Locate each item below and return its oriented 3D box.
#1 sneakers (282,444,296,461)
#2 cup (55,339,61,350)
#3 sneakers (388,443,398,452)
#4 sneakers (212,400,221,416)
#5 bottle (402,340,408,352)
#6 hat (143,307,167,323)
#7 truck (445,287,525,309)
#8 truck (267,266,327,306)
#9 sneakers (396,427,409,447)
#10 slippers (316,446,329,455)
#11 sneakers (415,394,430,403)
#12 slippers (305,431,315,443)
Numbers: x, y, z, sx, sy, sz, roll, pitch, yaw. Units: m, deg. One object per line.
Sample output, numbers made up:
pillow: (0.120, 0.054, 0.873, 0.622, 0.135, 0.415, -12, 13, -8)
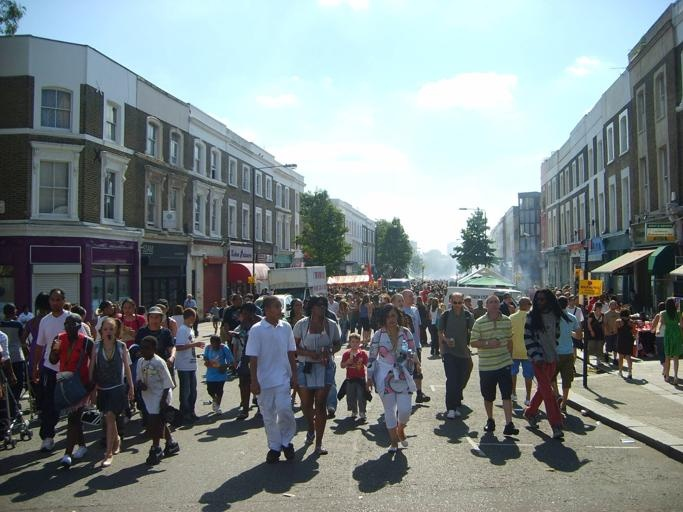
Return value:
sneakers: (-0.860, 3.145, 9.773, 0.146, 0.198, 0.440, 0, -17, -2)
cup: (-4.745, 1.486, 10.203, 0.081, 0.158, 0.152, 3, 0, 6)
sneakers: (0.842, 3.157, 10.096, 0.164, 0.166, 0.166, -1, 5, -2)
sneakers: (-2.616, 3.180, 12.758, 0.098, 0.154, 0.290, 1, 0, -42)
bottle: (1.057, 1.505, 10.239, 0.106, 0.167, 0.201, 0, 5, 3)
hat: (-3.798, 1.219, 12.461, 0.373, 0.291, 0.555, 1, -13, -5)
truck: (5.693, 1.516, 24.936, 2.424, 1.490, 1.782, -1, -2, 7)
truck: (-2.246, 1.884, 31.002, 2.024, 2.630, 4.683, -4, 1, 14)
sneakers: (0.999, 3.022, 10.169, 0.189, 0.426, 0.062, -7, 2, -34)
slippers: (-0.337, 3.205, 10.051, 0.198, 0.115, 0.152, -1, 5, -4)
sneakers: (1.749, 3.109, 13.212, 0.284, 0.234, 0.126, -16, 22, -11)
slippers: (-0.553, 3.158, 10.637, 0.164, 0.187, 0.266, -1, 5, -4)
